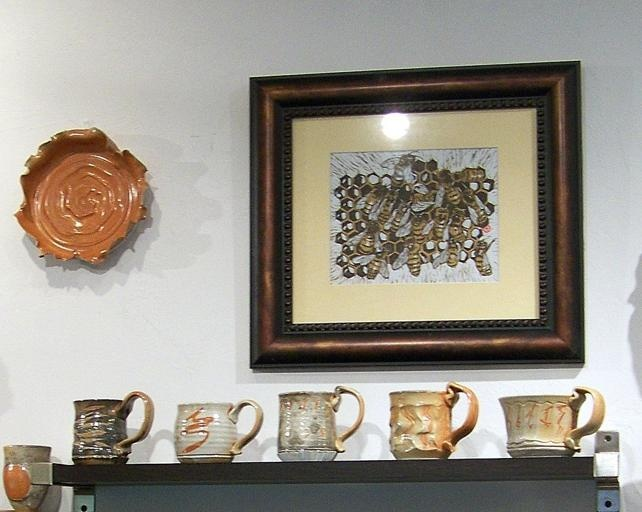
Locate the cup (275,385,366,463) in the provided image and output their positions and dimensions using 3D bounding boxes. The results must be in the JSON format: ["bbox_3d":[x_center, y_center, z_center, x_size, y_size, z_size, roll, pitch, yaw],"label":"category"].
[{"bbox_3d":[-0.009,0.334,2.117,0.195,0.136,0.113,1,-12,-14],"label":"cup"}]

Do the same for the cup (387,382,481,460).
[{"bbox_3d":[0.238,0.320,2.072,0.143,0.138,0.199,2,-11,-26],"label":"cup"}]

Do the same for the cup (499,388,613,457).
[{"bbox_3d":[0.467,0.327,2.065,0.156,0.116,0.215,15,-22,-32],"label":"cup"}]

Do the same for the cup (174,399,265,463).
[{"bbox_3d":[-0.218,0.352,2.131,0.216,0.119,0.123,1,-12,-14],"label":"cup"}]

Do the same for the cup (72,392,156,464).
[{"bbox_3d":[-0.402,0.346,2.136,0.195,0.140,0.118,-9,-15,38],"label":"cup"}]

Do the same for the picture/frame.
[{"bbox_3d":[0.224,-0.065,2.254,0.831,0.628,0.054,-1,-5,8],"label":"picture/frame"}]

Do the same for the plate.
[{"bbox_3d":[-0.532,-0.121,2.351,0.042,0.282,0.340,20,14,41],"label":"plate"}]
